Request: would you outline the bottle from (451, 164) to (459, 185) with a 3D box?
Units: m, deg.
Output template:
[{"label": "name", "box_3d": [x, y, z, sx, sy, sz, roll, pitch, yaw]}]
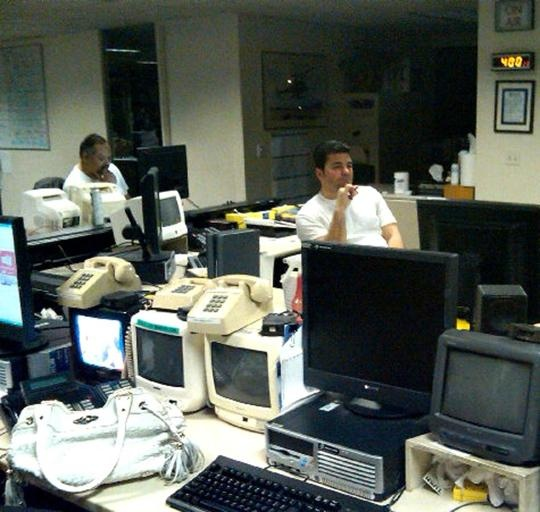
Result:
[{"label": "bottle", "box_3d": [1.609, -0.708, 4.715, 0.068, 0.173, 0.094, -3, 14, 6]}]

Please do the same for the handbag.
[{"label": "handbag", "box_3d": [-0.395, 0.444, 1.317, 0.362, 0.123, 0.312, 1, -2, -10]}]

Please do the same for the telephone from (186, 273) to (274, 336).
[{"label": "telephone", "box_3d": [-0.112, 0.144, 1.595, 0.181, 0.128, 0.247, 1, 13, 19]}]

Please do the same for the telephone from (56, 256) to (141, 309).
[{"label": "telephone", "box_3d": [-0.627, 0.089, 1.987, 0.224, 0.103, 0.226, 2, 8, 42]}]

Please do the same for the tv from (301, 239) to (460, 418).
[{"label": "tv", "box_3d": [0.267, 0.180, 1.313, 0.467, 0.394, 0.177, 4, 8, 34]}]
